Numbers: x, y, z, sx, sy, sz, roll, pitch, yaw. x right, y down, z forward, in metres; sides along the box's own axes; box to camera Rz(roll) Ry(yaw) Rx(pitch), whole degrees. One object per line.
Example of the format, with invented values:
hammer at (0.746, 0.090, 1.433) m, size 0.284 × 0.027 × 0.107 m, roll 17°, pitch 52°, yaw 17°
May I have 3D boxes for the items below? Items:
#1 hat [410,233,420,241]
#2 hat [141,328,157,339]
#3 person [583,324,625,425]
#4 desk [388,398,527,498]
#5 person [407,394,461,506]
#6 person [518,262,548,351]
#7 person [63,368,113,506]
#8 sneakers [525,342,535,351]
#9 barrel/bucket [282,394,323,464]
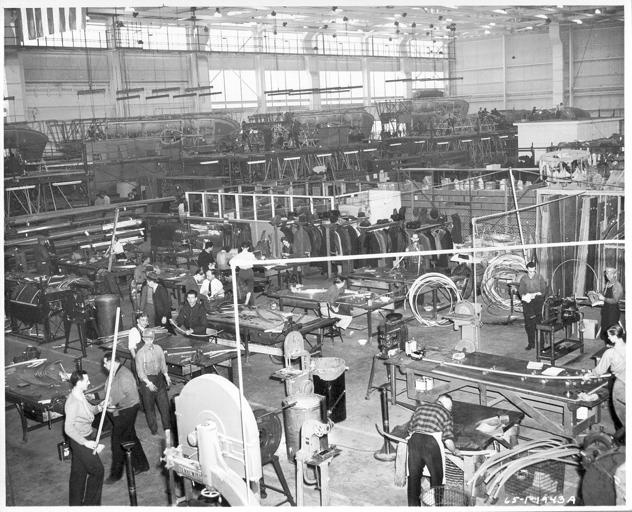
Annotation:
hat at (2.310, -0.420, 17.040) m, size 0.190 × 0.160 × 0.421 m, roll -1°, pitch 6°, yaw 7°
hat at (-2.426, 1.122, 10.441) m, size 0.142 × 0.162 × 0.185 m, roll 0°, pitch -3°, yaw -14°
person at (3.926, 1.663, 9.784) m, size 0.441 × 1.371 × 0.540 m, roll 1°, pitch 6°, yaw 21°
desk at (1.650, 2.331, 9.078) m, size 1.237 × 1.177 × 1.323 m, roll 6°, pitch 11°, yaw 41°
person at (1.399, 2.392, 8.786) m, size 0.612 × 1.255 × 0.519 m, roll -2°, pitch 5°, yaw -6°
person at (3.981, 0.921, 13.321) m, size 0.495 × 1.638 × 0.438 m, roll 1°, pitch 6°, yaw 18°
person at (-2.864, 2.284, 8.896) m, size 0.430 × 1.765 × 0.489 m, roll -3°, pitch 6°, yaw -18°
sneakers at (3.972, 1.678, 13.421) m, size 0.210 × 0.219 × 0.080 m, roll 1°, pitch 1°, yaw 41°
barrel/bucket at (-0.150, 2.354, 9.816) m, size 0.573 × 0.979 × 0.662 m, roll -2°, pitch 6°, yaw -3°
